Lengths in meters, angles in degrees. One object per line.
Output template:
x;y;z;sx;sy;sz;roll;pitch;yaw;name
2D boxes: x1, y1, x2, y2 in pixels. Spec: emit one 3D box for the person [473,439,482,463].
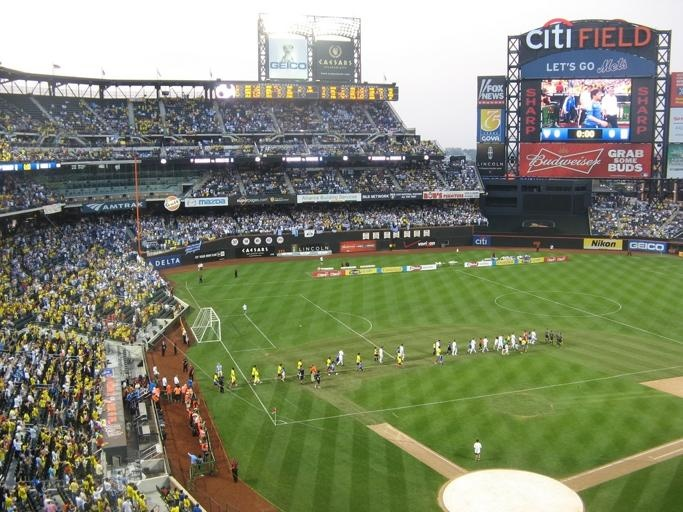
8.467;11.912;39.553;0.503;1.129;1.431;0;9;11;person
